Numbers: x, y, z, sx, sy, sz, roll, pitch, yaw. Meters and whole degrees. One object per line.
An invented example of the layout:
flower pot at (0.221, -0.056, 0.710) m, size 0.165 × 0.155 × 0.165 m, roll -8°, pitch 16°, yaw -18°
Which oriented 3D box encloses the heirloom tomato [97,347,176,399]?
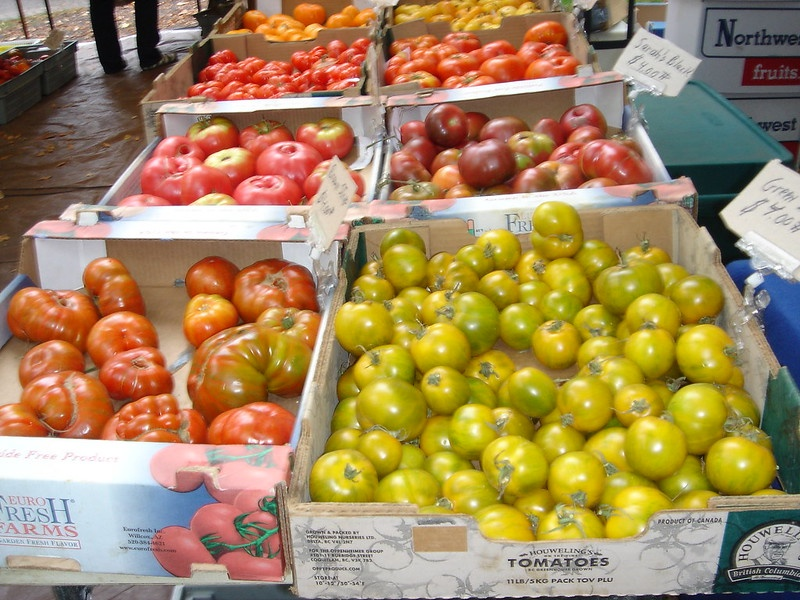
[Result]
heirloom tomato at (-0.920, 0.254, 2.030) m, size 0.208 × 0.123 × 0.203 m, roll -4°, pitch 6°, yaw 16°

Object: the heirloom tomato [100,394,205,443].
heirloom tomato at (-0.743, 0.365, 1.758) m, size 0.187 × 0.095 × 0.187 m, roll -17°, pitch 23°, yaw -35°

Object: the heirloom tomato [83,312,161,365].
heirloom tomato at (-1.022, 0.118, 2.200) m, size 0.227 × 0.204 × 0.204 m, roll -19°, pitch 16°, yaw -4°
